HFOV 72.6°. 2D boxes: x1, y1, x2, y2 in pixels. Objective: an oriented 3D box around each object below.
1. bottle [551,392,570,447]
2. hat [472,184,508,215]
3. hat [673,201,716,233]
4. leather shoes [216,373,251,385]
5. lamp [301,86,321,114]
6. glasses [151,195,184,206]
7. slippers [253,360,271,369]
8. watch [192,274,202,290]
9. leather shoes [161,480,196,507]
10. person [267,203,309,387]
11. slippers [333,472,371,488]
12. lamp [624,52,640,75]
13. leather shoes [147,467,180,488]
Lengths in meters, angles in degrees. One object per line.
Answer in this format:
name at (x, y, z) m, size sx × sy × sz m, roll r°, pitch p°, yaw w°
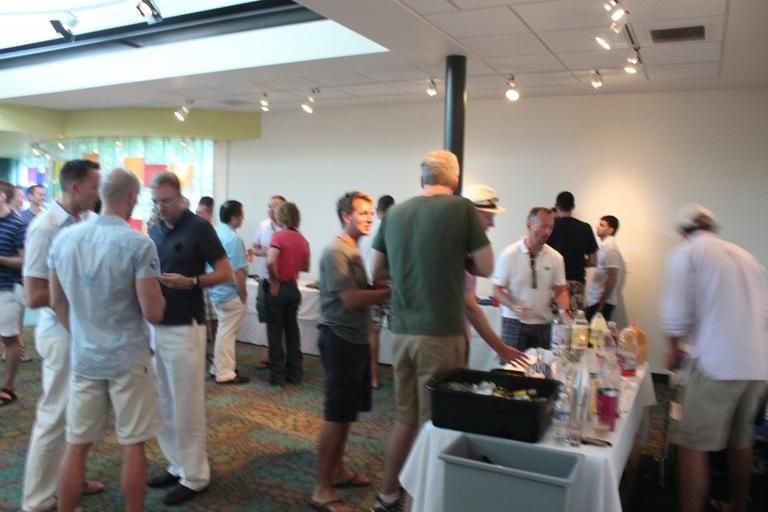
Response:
bottle at (0.947, 0.869, 2.802) m, size 0.085 × 0.255 × 0.110 m, roll 6°, pitch 11°, yaw 19°
hat at (0.718, -0.380, 3.715) m, size 0.253 × 0.106 × 0.194 m, roll 20°, pitch 26°, yaw 25°
hat at (2.083, -0.280, 3.513) m, size 0.193 × 0.230 × 0.175 m, roll -9°, pitch 4°, yaw 20°
leather shoes at (-1.618, 1.360, 5.742) m, size 0.387 × 0.158 × 0.127 m, roll -3°, pitch 3°, yaw -6°
lamp at (-1.061, -2.244, 7.576) m, size 0.203 × 0.213 × 1.521 m, roll 0°, pitch 10°, yaw -12°
glasses at (-1.562, -0.381, 3.719) m, size 0.103 × 0.048 × 0.134 m, roll -1°, pitch -4°, yaw -44°
slippers at (-1.465, 1.298, 6.241) m, size 0.265 × 0.111 × 0.099 m, roll -1°, pitch -13°, yaw 34°
watch at (-1.321, 0.187, 3.696) m, size 0.054 × 0.074 × 0.036 m, roll -2°, pitch 11°, yaw -22°
leather shoes at (-1.435, 1.694, 3.703) m, size 0.143 × 0.071 × 0.215 m, roll 8°, pitch 12°, yaw 30°
person at (-1.023, 0.544, 5.674) m, size 0.484 × 1.709 × 0.393 m, roll -3°, pitch 12°, yaw -23°
slippers at (-0.239, 1.683, 3.887) m, size 0.251 × 0.088 × 0.110 m, roll -3°, pitch 4°, yaw -12°
lamp at (2.419, -1.903, 5.111) m, size 0.095 × 0.149 × 0.150 m, roll -2°, pitch 24°, yaw -12°
leather shoes at (-1.625, 1.642, 3.860) m, size 0.195 × 0.076 × 0.098 m, roll 11°, pitch 7°, yaw -27°
